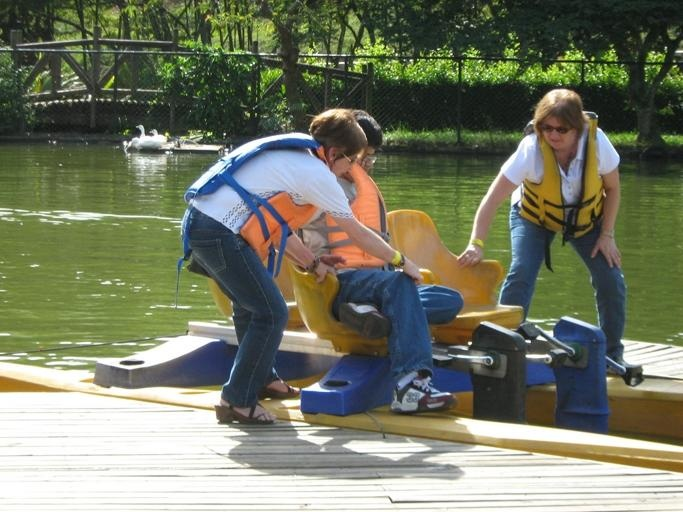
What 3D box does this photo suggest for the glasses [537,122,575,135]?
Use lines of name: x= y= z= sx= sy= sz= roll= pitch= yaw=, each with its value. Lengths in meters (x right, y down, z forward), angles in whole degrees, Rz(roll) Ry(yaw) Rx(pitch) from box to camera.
glasses: x=1.756 y=-1.028 z=11.902 sx=0.273 sy=0.092 sz=0.086 roll=2 pitch=5 yaw=31

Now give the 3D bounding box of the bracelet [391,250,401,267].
bracelet: x=0.424 y=0.018 z=11.145 sx=0.054 sy=0.101 sz=0.077 roll=5 pitch=48 yaw=-2

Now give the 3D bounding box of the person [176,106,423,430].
person: x=-0.508 y=0.085 z=11.173 sx=1.480 sy=2.392 sz=0.455 roll=0 pitch=4 yaw=-6

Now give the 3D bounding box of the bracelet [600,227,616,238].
bracelet: x=2.262 y=-0.184 z=12.203 sx=0.149 sy=0.051 sz=0.141 roll=3 pitch=-1 yaw=9

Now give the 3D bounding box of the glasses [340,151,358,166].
glasses: x=0.067 y=-0.738 z=11.132 sx=0.095 sy=0.029 sz=0.094 roll=10 pitch=16 yaw=-45

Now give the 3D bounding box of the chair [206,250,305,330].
chair: x=-0.713 y=0.332 z=12.234 sx=0.617 sy=0.611 sz=0.746 roll=1 pitch=4 yaw=6

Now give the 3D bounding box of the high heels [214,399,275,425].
high heels: x=-0.755 y=1.203 z=11.194 sx=0.438 sy=0.150 sz=0.172 roll=1 pitch=2 yaw=4

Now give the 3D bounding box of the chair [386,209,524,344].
chair: x=0.893 y=0.159 z=12.026 sx=1.143 sy=0.899 sz=0.816 roll=11 pitch=11 yaw=40

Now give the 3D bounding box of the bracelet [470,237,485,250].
bracelet: x=1.152 y=-0.099 z=12.165 sx=0.102 sy=0.073 sz=0.098 roll=-7 pitch=14 yaw=-43
